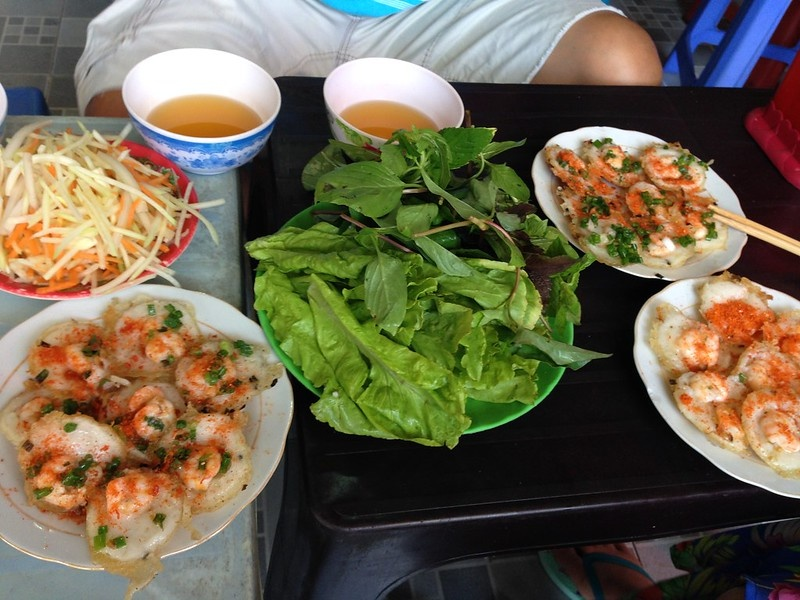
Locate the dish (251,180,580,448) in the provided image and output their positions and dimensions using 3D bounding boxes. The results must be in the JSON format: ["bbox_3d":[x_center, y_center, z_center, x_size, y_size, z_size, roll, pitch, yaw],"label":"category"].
[{"bbox_3d":[0.007,0.041,1.229,0.499,0.285,0.532,-20,59,-16],"label":"dish"}]

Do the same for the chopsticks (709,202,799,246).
[{"bbox_3d":[0.932,-0.200,1.641,0.306,0.026,0.027,21,63,9],"label":"chopsticks"}]

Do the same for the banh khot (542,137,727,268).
[{"bbox_3d":[0.569,-0.228,1.698,0.534,0.072,0.360,-10,59,-21],"label":"banh khot"}]
